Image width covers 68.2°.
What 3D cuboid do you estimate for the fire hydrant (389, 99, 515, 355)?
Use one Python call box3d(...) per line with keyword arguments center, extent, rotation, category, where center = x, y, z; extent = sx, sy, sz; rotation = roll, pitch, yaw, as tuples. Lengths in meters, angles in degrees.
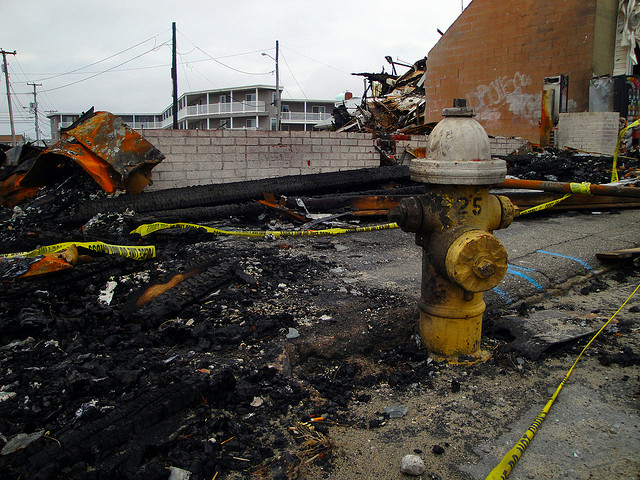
box3d(center=(1.011, -0.068, 3.641), extent=(0.883, 1.984, 0.589), rotation=(-3, 13, 9), category="fire hydrant")
